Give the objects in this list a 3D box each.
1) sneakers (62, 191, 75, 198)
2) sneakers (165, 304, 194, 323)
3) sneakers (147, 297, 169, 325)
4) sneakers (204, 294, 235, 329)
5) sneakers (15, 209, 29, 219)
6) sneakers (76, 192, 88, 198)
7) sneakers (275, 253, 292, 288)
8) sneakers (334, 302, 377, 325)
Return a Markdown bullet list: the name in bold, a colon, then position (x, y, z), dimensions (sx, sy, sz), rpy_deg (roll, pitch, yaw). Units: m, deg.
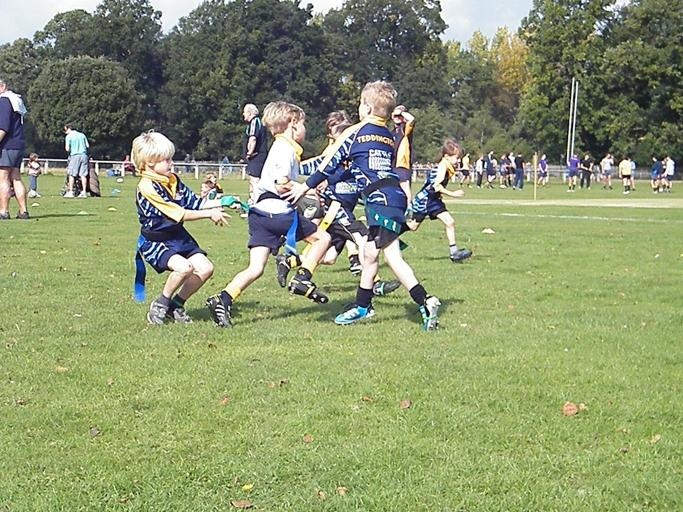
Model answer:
- **sneakers**: position (-7.864, -1.774, 23.374), dimensions (0.155, 0.191, 0.421), rpy_deg (-4, 10, -31)
- **sneakers**: position (-1.569, 0.555, 7.801), dimensions (0.286, 0.130, 0.119), rpy_deg (7, 9, -1)
- **sneakers**: position (-1.739, 0.559, 7.696), dimensions (0.144, 0.135, 0.341), rpy_deg (-20, 35, 7)
- **sneakers**: position (-1.119, 0.489, 7.666), dimensions (0.164, 0.363, 0.172), rpy_deg (-29, -3, 24)
- **sneakers**: position (-6.048, -0.772, 15.348), dimensions (0.111, 0.134, 0.294), rpy_deg (-3, 7, -38)
- **sneakers**: position (-7.575, -1.767, 23.646), dimensions (0.138, 0.182, 0.403), rpy_deg (0, 8, -40)
- **sneakers**: position (-0.609, 0.147, 8.567), dimensions (0.174, 0.377, 0.128), rpy_deg (4, -3, -14)
- **sneakers**: position (0.116, 0.569, 7.906), dimensions (0.435, 0.197, 0.165), rpy_deg (-15, 33, -5)
